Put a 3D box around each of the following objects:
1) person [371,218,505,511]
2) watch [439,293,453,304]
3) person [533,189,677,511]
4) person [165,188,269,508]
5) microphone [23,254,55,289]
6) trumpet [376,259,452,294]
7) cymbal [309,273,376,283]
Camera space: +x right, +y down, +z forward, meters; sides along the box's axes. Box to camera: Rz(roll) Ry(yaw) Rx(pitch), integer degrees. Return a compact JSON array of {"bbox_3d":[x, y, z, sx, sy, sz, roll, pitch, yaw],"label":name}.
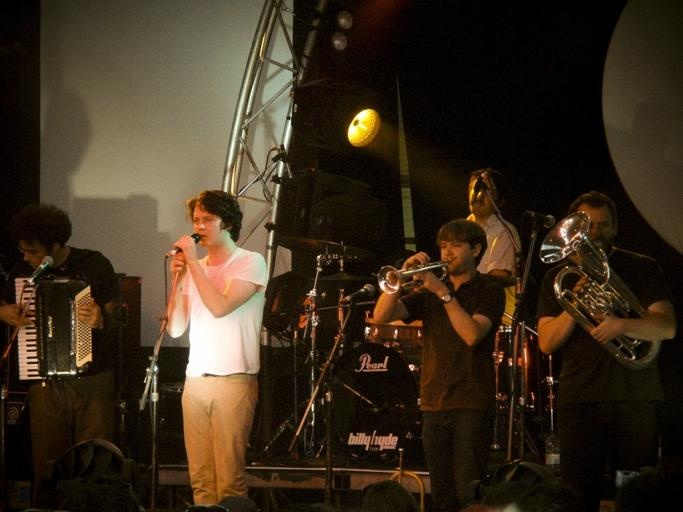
[{"bbox_3d":[0.804,0.749,4.652,0.762,2.330,0.888,2,-5,-31],"label":"person"},{"bbox_3d":[0.719,0.296,4.367,0.080,0.050,0.080,-29,-7,2],"label":"watch"},{"bbox_3d":[1.731,0.591,4.161,0.851,2.075,0.369,-3,-12,17],"label":"person"},{"bbox_3d":[-0.930,0.607,4.659,0.722,2.346,0.553,0,-12,0],"label":"person"},{"bbox_3d":[-2.519,0.137,5.343,0.074,0.298,0.081,39,4,-24],"label":"microphone"},{"bbox_3d":[0.542,0.118,4.579,0.485,0.228,0.219,-3,17,-42],"label":"trumpet"},{"bbox_3d":[0.058,0.202,6.145,0.547,0.077,0.220,0,-13,1],"label":"cymbal"}]
